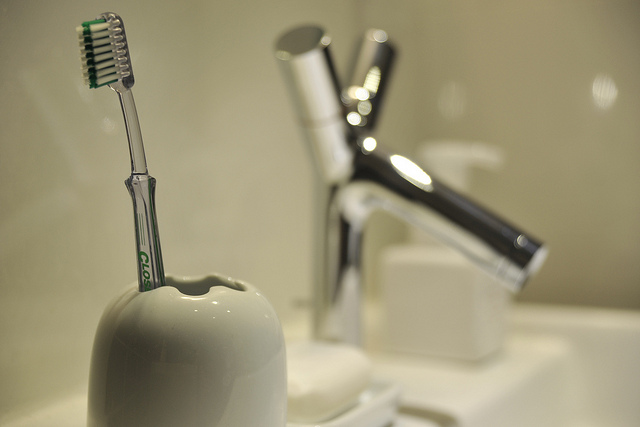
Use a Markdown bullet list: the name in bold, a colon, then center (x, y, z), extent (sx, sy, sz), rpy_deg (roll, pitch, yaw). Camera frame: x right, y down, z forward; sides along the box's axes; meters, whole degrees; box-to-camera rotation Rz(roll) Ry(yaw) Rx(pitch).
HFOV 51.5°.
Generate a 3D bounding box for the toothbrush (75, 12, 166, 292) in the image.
- **toothbrush**: center (-0.140, -0.044, 0.466), extent (0.027, 0.186, 0.083), rpy_deg (-8, -19, 13)

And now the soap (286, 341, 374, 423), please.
- **soap**: center (0.000, 0.156, 0.647), extent (0.076, 0.021, 0.078), rpy_deg (10, 20, 32)
